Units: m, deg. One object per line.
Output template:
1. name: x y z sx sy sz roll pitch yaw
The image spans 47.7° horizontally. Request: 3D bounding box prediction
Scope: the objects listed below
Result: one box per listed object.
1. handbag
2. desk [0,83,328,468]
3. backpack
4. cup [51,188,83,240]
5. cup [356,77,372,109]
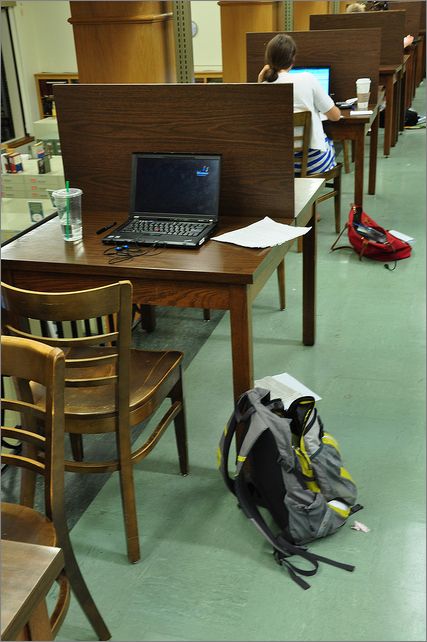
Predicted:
1. handbag: 1.184 -0.596 3.704 0.593 0.379 0.385 31 83 26
2. desk: 0.090 -0.374 2.007 1.067 1.425 1.339 8 34 18
3. backpack: 0.263 0.449 1.483 0.372 0.424 0.492 -19 25 -29
4. cup: -0.543 -0.406 1.804 0.099 0.188 0.185 -12 23 -15
5. cup: 1.193 -1.798 3.810 0.091 0.232 0.178 0 23 14
